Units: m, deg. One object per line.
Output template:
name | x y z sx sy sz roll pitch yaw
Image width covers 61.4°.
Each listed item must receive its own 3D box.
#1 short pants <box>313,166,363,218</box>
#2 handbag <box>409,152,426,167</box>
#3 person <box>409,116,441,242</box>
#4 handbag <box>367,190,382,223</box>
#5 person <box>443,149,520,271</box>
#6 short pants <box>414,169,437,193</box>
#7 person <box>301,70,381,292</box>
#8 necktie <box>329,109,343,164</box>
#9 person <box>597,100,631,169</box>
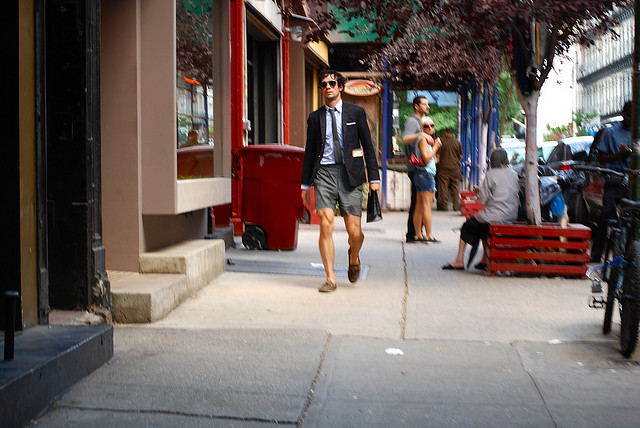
short pants | 0.189 -0.306 6.944 0.624 0.983 0.518 0 0 -3
handbag | 1.899 -1.062 10.524 0.137 0.256 0.348 -1 5 -33
person | 2.061 -0.487 10.733 0.564 2.089 0.694 2 3 16
handbag | 0.681 -0.105 6.989 0.195 0.501 0.156 -19 -33 39
person | 2.441 -0.056 7.945 0.898 1.801 0.540 2 3 18
short pants | 2.062 -0.697 10.538 0.331 0.515 0.484 -11 11 -25
person | 0.242 -0.434 6.871 0.968 2.815 1.270 -2 1 16
necktie | 0.200 -0.955 6.670 0.094 0.641 0.099 -6 -8 10
person | 4.581 -1.219 8.373 0.420 1.025 0.360 3 4 34
